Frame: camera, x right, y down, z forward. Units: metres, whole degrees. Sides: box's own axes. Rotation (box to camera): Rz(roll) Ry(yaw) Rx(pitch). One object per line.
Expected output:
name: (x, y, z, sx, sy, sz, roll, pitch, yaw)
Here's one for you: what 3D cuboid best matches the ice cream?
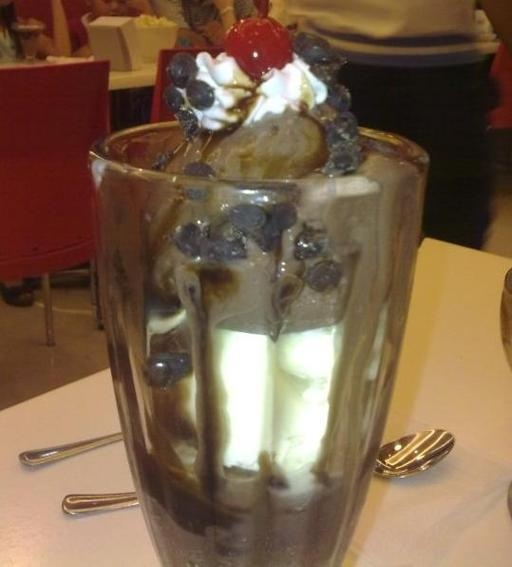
ice cream: (0.006, -0.003, 0.344, 0.139, 0.221, 0.151, 2, 14, -12)
